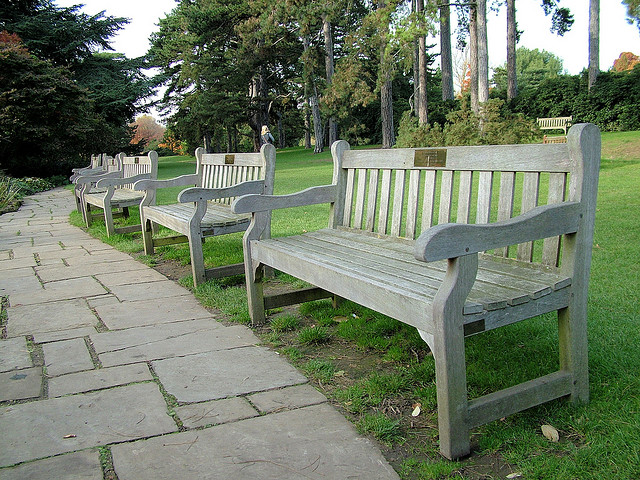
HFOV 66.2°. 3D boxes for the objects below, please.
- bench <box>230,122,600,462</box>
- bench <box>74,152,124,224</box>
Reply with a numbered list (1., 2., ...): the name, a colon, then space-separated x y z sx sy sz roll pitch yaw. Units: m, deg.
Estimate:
1. bench: 0.704 0.054 3.262 1.862 1.502 2.199 -10 13 -36
2. bench: -3.884 -0.942 8.955 0.845 1.133 0.816 5 24 28
